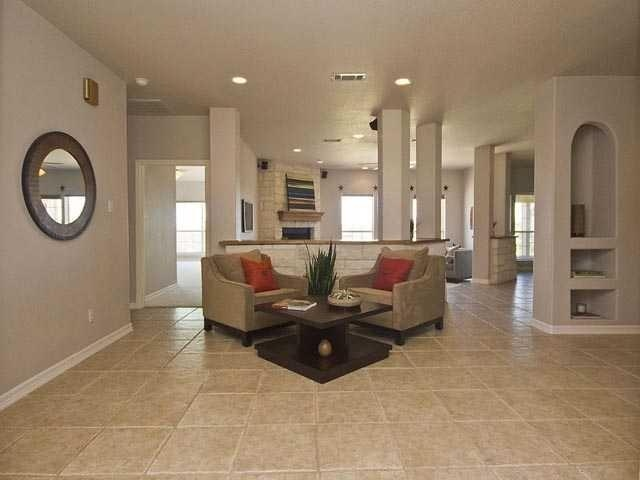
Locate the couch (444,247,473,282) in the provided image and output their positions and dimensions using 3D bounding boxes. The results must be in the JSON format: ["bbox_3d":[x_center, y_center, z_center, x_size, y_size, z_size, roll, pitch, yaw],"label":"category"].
[{"bbox_3d":[2.828,0.500,10.681,0.523,0.627,0.948,-1,3,-35],"label":"couch"}]

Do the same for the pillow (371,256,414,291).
[{"bbox_3d":[0.884,0.396,5.945,0.122,0.404,0.424,33,-16,-34],"label":"pillow"}]

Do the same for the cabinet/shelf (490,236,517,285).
[{"bbox_3d":[3.775,0.432,10.054,0.404,0.911,0.984,-2,-2,37],"label":"cabinet/shelf"}]

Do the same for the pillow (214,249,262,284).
[{"bbox_3d":[-1.074,0.318,5.890,0.399,0.401,0.122,-8,-15,-40],"label":"pillow"}]

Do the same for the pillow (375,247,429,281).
[{"bbox_3d":[1.072,0.298,6.172,0.610,0.504,0.217,0,16,6],"label":"pillow"}]

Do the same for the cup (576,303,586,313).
[{"bbox_3d":[3.219,0.844,6.038,0.104,0.103,0.102,1,1,0],"label":"cup"}]

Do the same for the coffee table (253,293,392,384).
[{"bbox_3d":[0.037,0.966,5.096,1.110,0.600,1.107,-5,7,-43],"label":"coffee table"}]
